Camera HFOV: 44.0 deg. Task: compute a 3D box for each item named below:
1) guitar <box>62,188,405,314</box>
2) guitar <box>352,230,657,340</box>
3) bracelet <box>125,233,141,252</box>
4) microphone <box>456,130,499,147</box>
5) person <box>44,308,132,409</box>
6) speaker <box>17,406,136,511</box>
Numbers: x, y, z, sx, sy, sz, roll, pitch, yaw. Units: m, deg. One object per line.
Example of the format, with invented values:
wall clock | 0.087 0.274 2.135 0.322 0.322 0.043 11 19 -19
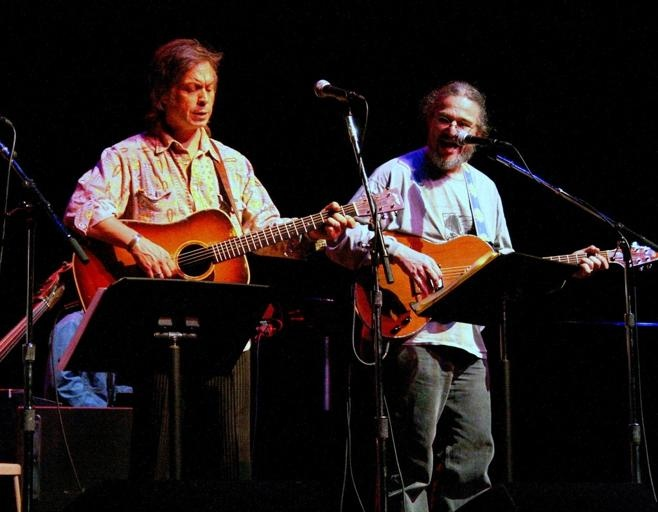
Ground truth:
guitar | -0.721 -0.062 5.228 2.005 0.879 0.211 -15 -3 -14
guitar | 1.061 0.124 4.893 1.665 0.669 0.931 -2 -6 -14
bracelet | -1.155 -0.077 4.849 0.021 0.086 0.091 36 -41 -7
microphone | 0.903 -0.709 4.979 0.102 0.106 0.328 -34 26 -28
person | -1.623 0.615 5.637 0.610 0.904 0.641 1 4 -26
speaker | -1.412 1.125 4.481 0.520 0.552 0.295 1 -10 -10
